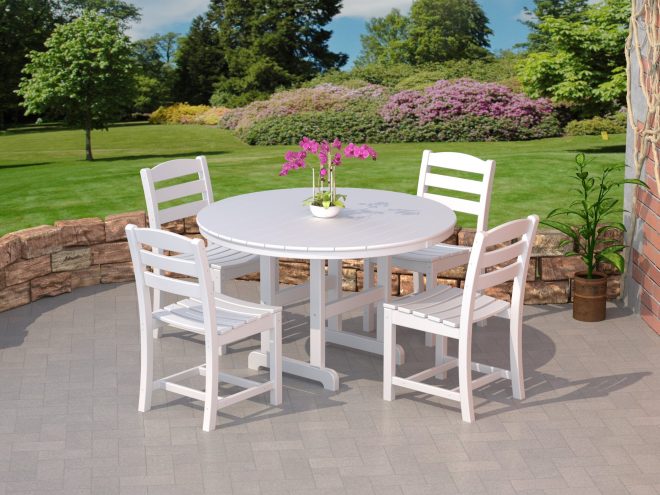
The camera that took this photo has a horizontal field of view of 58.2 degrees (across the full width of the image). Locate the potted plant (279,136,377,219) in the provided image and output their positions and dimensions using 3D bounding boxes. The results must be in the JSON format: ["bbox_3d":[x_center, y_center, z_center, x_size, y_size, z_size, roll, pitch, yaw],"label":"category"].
[{"bbox_3d":[0.009,-0.527,4.256,0.811,0.405,0.528,-1,3,20],"label":"potted plant"}]
